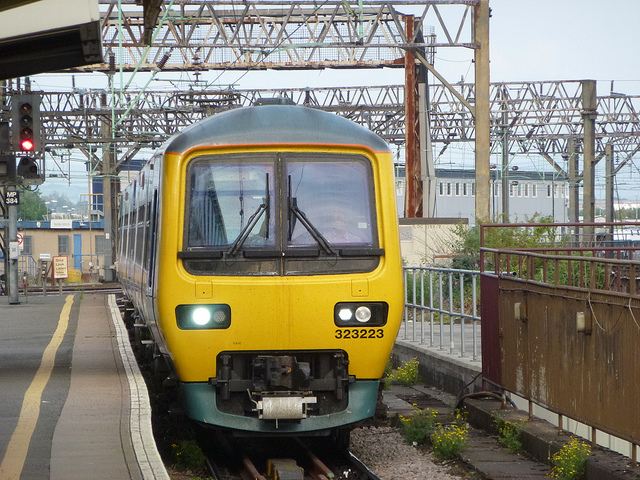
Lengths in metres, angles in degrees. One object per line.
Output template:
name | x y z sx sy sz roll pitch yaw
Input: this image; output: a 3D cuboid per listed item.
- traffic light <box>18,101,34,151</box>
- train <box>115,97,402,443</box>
traffic light | -7.414 -2.860 18.980 0.374 1.176 0.369 0 2 -15
train | -0.763 0.573 9.720 4.782 8.825 25.039 -1 0 -7
